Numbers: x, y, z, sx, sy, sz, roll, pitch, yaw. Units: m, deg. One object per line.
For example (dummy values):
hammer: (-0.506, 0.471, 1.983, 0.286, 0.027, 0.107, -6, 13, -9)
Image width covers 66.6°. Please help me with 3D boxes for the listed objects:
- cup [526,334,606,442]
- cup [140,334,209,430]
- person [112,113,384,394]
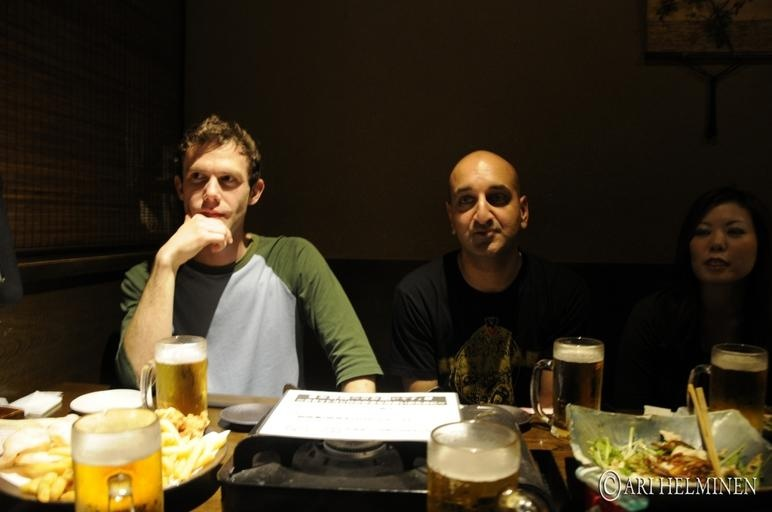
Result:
cup: (0.655, 0.436, 2.143, 0.220, 0.399, 0.217, 6, 4, 0)
cup: (-0.731, 0.441, 2.103, 0.184, 0.288, 0.220, 2, -1, -44)
person: (-0.711, 0.119, 3.271, 1.147, 1.560, 0.784, 5, 7, -7)
